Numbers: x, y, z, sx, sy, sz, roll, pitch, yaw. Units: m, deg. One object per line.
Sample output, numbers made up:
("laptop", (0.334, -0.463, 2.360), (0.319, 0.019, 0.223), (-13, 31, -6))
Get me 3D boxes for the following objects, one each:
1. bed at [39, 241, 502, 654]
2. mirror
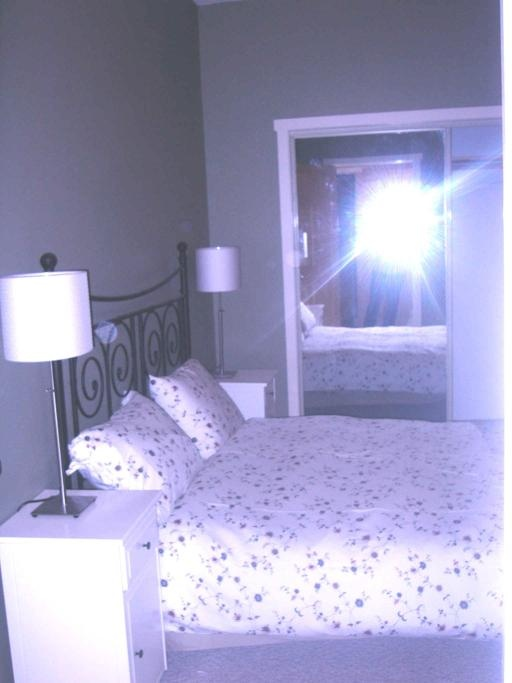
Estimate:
("bed", (0.179, 0.461, 2.146), (1.326, 1.033, 1.285), (-1, 22, 9))
("mirror", (0.840, -0.437, 4.388), (1.048, 2.295, 0.028), (-2, -28, 21))
